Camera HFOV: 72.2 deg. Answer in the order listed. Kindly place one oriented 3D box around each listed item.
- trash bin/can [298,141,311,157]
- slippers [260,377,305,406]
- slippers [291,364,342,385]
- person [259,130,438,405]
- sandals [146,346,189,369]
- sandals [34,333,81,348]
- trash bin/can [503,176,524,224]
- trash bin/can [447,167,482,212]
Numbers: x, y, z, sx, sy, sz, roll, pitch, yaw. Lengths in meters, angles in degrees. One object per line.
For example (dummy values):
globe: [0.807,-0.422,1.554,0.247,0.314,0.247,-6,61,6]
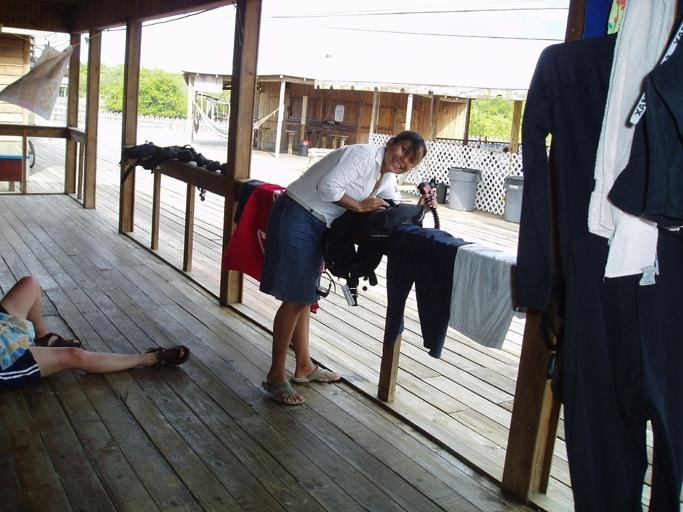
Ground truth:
trash bin/can: [-1.358,-4.104,17.837,0.472,0.671,0.466,-9,29,-37]
slippers: [-0.358,0.867,2.986,0.256,0.102,0.133,24,30,32]
slippers: [-0.180,0.801,3.289,0.253,0.103,0.141,-3,8,-14]
person: [-0.069,0.083,2.904,0.872,1.731,0.511,3,12,-3]
sandals: [-1.193,0.689,3.268,0.317,0.134,0.133,-2,7,-6]
sandals: [-1.962,0.602,3.291,0.370,0.111,0.145,0,2,-1]
trash bin/can: [3.717,-1.203,10.054,0.350,0.969,0.492,7,13,14]
trash bin/can: [2.943,-1.576,11.314,0.847,1.057,0.920,4,3,-10]
